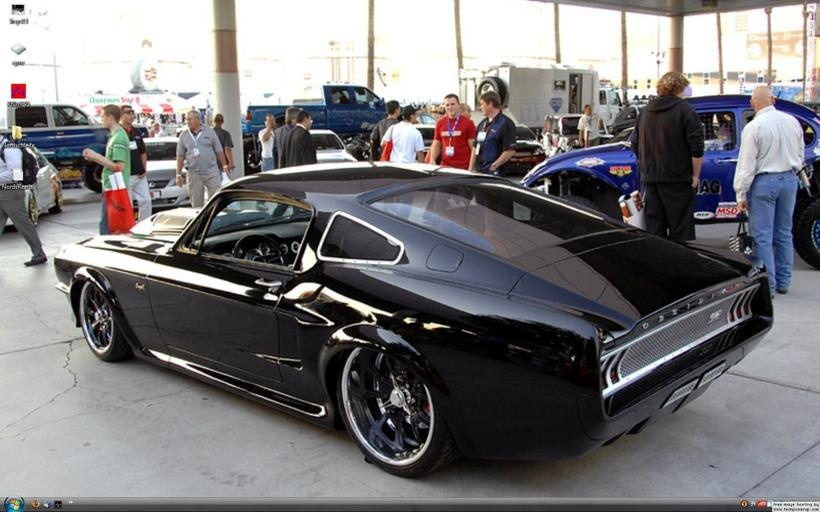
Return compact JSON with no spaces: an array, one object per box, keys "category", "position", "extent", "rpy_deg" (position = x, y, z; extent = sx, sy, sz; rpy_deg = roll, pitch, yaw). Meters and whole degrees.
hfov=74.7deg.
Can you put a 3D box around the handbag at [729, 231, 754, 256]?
[{"category":"handbag","position":[3.880,-0.144,6.276],"extent":[0.172,0.282,0.224],"rpy_deg":[-25,33,-28]}]

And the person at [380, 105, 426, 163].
[{"category":"person","position":[-0.113,-2.392,10.689],"extent":[0.877,1.230,0.534],"rpy_deg":[21,43,17]}]

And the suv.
[{"category":"suv","position":[4.254,-1.363,8.633],"extent":[5.047,2.208,2.293],"rpy_deg":[6,12,12]}]

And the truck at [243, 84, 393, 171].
[{"category":"truck","position":[-2.644,-6.087,24.563],"extent":[10.084,3.619,3.467],"rpy_deg":[-9,19,-24]}]

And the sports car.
[{"category":"sports car","position":[0.040,0.388,4.169],"extent":[4.528,1.929,1.573],"rpy_deg":[7,16,27]}]

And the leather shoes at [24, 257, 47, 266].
[{"category":"leather shoes","position":[-6.411,0.084,9.069],"extent":[0.402,0.157,0.142],"rpy_deg":[-3,12,-15]}]
